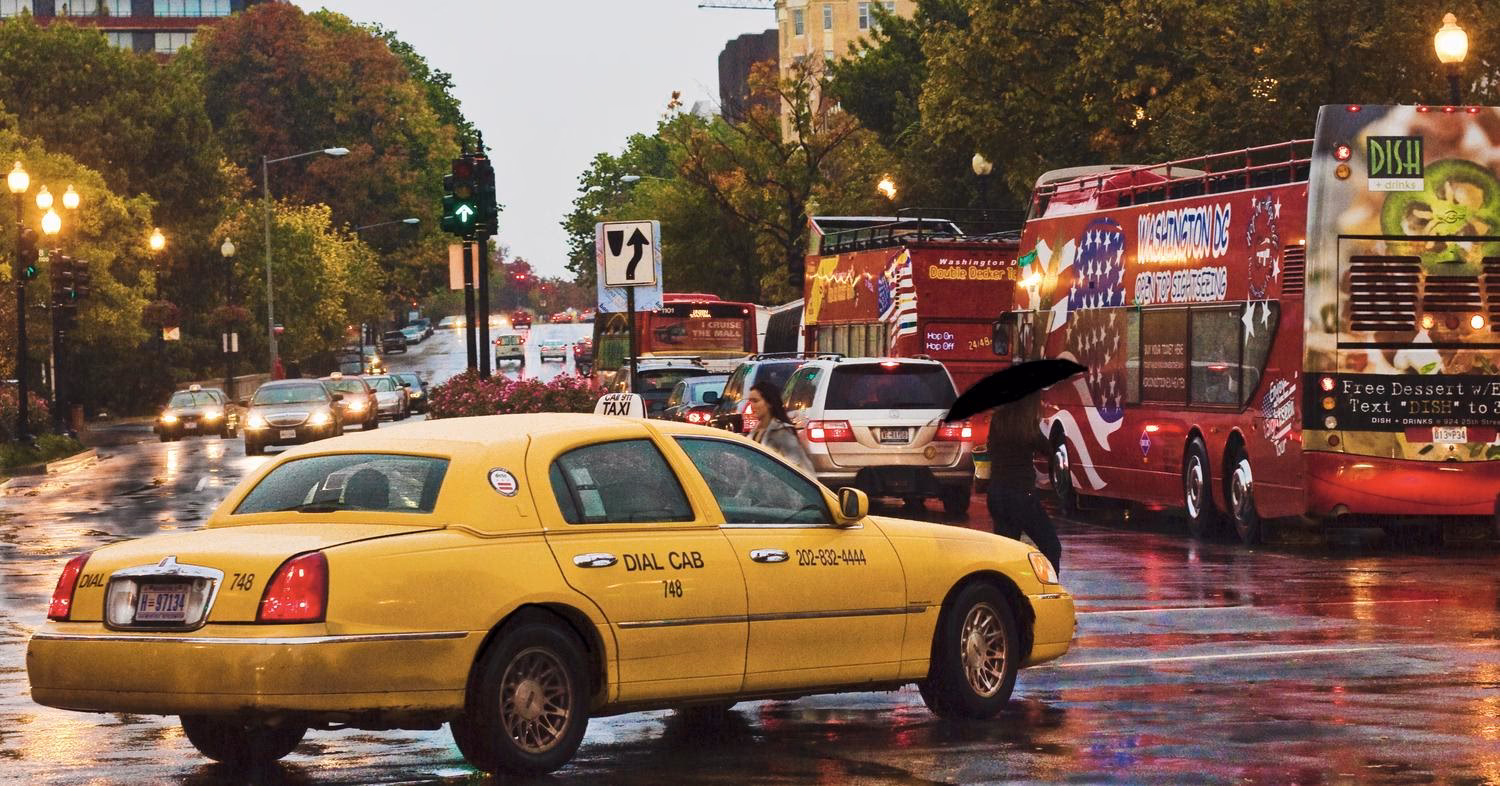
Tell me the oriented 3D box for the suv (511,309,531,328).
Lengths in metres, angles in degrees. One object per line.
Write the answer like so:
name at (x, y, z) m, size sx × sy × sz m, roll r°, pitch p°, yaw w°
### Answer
suv at (-27.063, -8.723, 211.257) m, size 2.639 × 2.022 × 5.967 m, roll -1°, pitch 8°, yaw -4°

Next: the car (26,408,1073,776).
car at (-1.401, 1.421, 17.588) m, size 9.039 × 2.465 × 3.740 m, roll -1°, pitch -1°, yaw -31°

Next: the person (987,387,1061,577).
person at (3.224, 0.989, 21.116) m, size 0.814 × 2.061 × 0.841 m, roll 0°, pitch -1°, yaw 2°
